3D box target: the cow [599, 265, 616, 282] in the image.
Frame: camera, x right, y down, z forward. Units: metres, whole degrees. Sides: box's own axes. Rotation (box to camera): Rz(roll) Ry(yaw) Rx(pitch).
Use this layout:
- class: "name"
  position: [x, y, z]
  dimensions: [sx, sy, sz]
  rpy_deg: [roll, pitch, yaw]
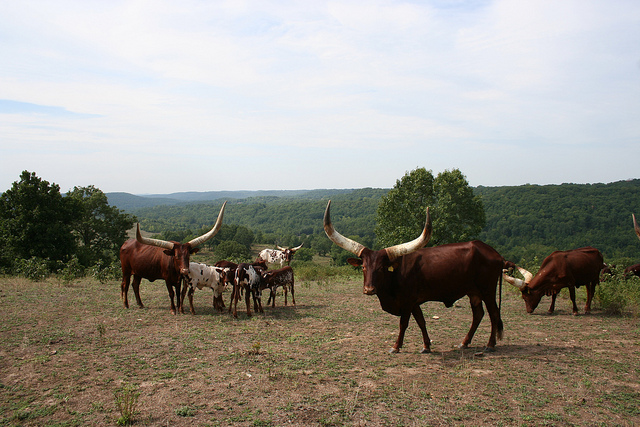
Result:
- class: "cow"
  position: [12.977, 2.683, 22.217]
  dimensions: [0.742, 0.367, 0.939]
  rpy_deg: [4, 19, 17]

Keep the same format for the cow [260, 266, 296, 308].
- class: "cow"
  position: [-1.901, 3.194, 21.379]
  dimensions: [0.996, 1.683, 2.091]
  rpy_deg: [-1, -2, 28]

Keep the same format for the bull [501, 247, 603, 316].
- class: "bull"
  position: [9.864, 2.808, 19.963]
  dimensions: [4.931, 2.558, 1.449]
  rpy_deg: [-7, 4, -18]

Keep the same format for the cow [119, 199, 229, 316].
- class: "cow"
  position: [-6.246, 1.942, 20.894]
  dimensions: [5.360, 4.363, 3.990]
  rpy_deg: [-9, -9, 39]

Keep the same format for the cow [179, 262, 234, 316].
- class: "cow"
  position: [-4.632, 3.012, 20.216]
  dimensions: [1.037, 1.884, 2.929]
  rpy_deg: [-15, -16, 32]

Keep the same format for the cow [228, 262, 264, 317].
- class: "cow"
  position: [-3.032, 3.048, 20.045]
  dimensions: [1.387, 2.045, 1.730]
  rpy_deg: [0, -2, -11]

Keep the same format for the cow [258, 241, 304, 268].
- class: "cow"
  position: [-2.206, 2.199, 26.272]
  dimensions: [1.831, 1.273, 1.166]
  rpy_deg: [0, 4, 14]

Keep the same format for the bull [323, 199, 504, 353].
- class: "bull"
  position: [3.450, 2.538, 15.746]
  dimensions: [5.111, 3.774, 1.165]
  rpy_deg: [0, -1, -14]
